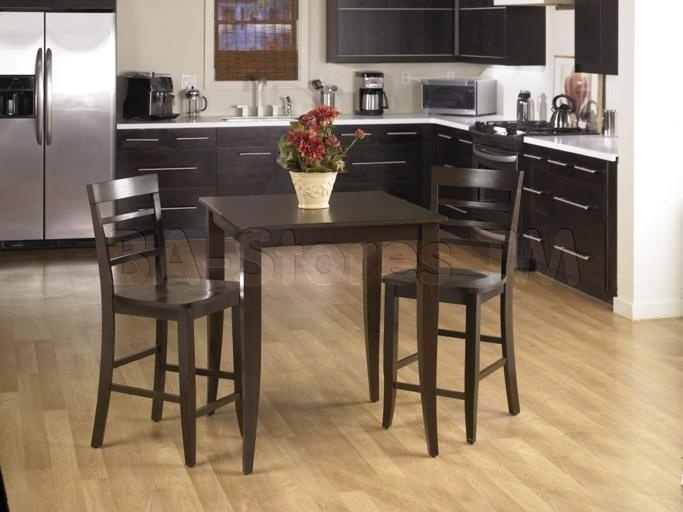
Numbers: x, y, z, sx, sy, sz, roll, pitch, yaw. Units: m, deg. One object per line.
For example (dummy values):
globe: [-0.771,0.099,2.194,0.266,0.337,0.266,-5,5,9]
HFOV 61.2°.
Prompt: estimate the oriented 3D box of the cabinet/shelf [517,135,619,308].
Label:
cabinet/shelf: [2.023,-0.348,4.602,0.723,1.076,1.105,-11,18,-10]

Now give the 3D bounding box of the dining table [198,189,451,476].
dining table: [-0.111,0.275,2.530,0.958,0.990,0.850,-3,13,-14]

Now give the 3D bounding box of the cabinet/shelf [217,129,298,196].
cabinet/shelf: [-0.862,-0.984,6.235,1.003,0.975,0.599,-1,7,-14]

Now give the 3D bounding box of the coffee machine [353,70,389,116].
coffee machine: [0.350,-1.892,6.665,0.323,0.486,0.390,-14,23,-33]

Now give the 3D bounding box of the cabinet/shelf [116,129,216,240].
cabinet/shelf: [-1.905,-0.969,6.150,1.127,1.261,0.892,-9,40,-27]

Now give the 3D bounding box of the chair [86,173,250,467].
chair: [-0.724,0.259,2.448,0.652,1.120,0.652,-1,6,-22]

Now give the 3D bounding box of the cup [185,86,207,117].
cup: [-1.569,-1.667,6.248,0.236,0.321,0.283,-3,13,-13]

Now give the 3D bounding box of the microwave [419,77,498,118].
microwave: [1.155,-1.759,6.689,0.712,0.394,0.529,-1,-4,-16]

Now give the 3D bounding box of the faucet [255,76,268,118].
faucet: [-0.905,-1.796,6.487,0.124,0.403,0.157,0,13,0]

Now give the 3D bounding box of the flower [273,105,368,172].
flower: [-0.070,-0.532,2.615,0.275,0.283,0.478,9,16,34]

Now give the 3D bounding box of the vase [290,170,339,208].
vase: [-0.122,-0.308,2.574,0.215,0.169,0.219,6,17,24]

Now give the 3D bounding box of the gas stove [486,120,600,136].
gas stove: [1.752,-1.142,5.152,0.785,0.104,0.804,-4,14,-18]

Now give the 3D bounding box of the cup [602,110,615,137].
cup: [2.239,-1.109,4.820,0.101,0.206,0.076,6,14,24]
